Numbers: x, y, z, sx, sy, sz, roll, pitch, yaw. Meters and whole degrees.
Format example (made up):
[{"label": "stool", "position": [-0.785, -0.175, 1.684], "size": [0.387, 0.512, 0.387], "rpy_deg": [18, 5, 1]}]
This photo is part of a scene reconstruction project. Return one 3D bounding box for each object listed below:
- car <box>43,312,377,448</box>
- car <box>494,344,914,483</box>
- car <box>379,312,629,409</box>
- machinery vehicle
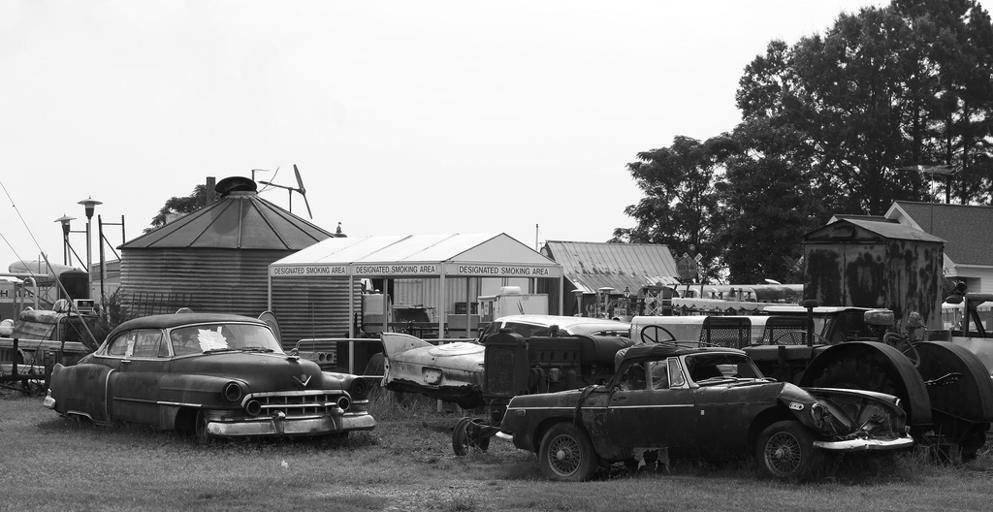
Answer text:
[{"label": "car", "position": [-7.665, 3.144, 28.293], "size": [6.149, 1.861, 3.757], "rpy_deg": [-1, -5, 34]}, {"label": "car", "position": [4.642, 3.631, 25.441], "size": [6.585, 1.944, 3.904], "rpy_deg": [-5, -6, 24]}, {"label": "car", "position": [-0.117, 2.768, 29.190], "size": [5.272, 1.398, 3.144], "rpy_deg": [-2, -2, 41]}, {"label": "machinery vehicle", "position": [3.442, 3.211, 26.484], "size": [7.632, 2.926, 4.253], "rpy_deg": [-5, -6, 28]}]
